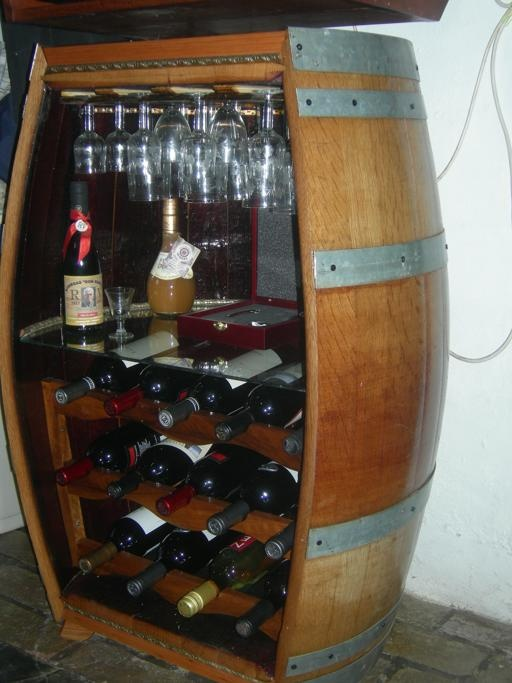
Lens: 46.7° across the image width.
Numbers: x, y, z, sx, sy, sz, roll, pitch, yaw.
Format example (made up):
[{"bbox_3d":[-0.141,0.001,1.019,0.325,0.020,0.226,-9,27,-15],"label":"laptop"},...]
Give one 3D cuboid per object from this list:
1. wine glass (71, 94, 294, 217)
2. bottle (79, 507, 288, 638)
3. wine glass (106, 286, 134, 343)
[{"bbox_3d":[-0.143,-0.413,1.303,0.359,0.132,0.359,16,22,32],"label":"wine glass"},{"bbox_3d":[-0.138,0.519,1.349,0.348,0.091,0.355,7,7,-1],"label":"bottle"},{"bbox_3d":[-0.331,-0.067,1.432,0.085,0.122,0.080,-4,-5,6],"label":"wine glass"}]
